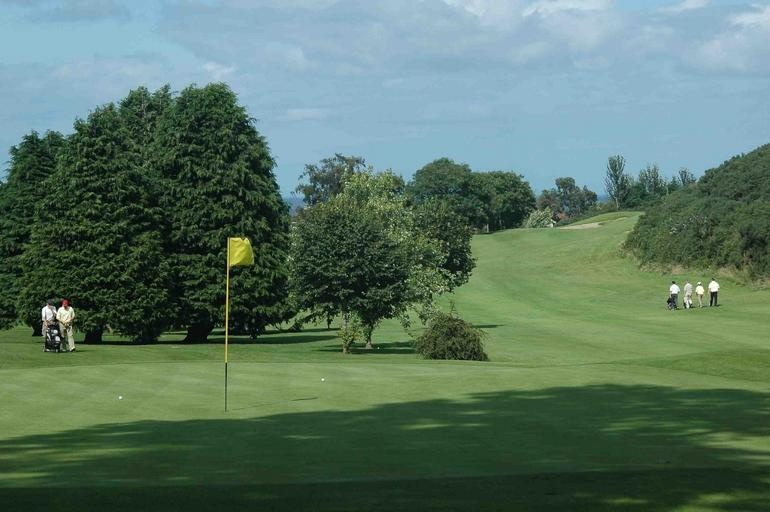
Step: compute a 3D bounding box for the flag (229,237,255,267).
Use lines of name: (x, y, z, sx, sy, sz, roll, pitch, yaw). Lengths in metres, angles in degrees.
flag: (-6.104, -0.216, 45.283, 1.004, 1.229, 1.035, -3, 13, -14)
